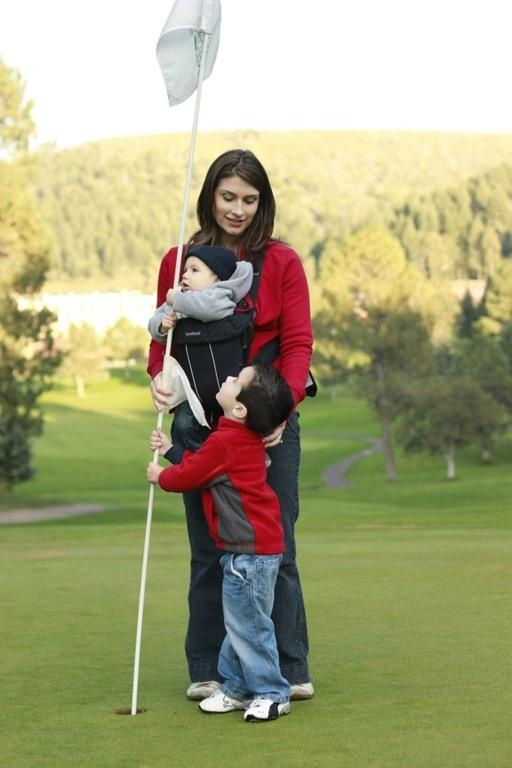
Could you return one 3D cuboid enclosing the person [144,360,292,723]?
[{"bbox_3d":[-0.091,0.379,3.028,0.357,0.842,0.255,1,-1,3],"label":"person"}]

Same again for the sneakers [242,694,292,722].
[{"bbox_3d":[0.025,0.770,2.915,0.121,0.050,0.041,-1,-21,-33],"label":"sneakers"}]

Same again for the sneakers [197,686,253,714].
[{"bbox_3d":[-0.076,0.775,2.994,0.132,0.053,0.048,4,-5,-11],"label":"sneakers"}]

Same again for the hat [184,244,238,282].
[{"bbox_3d":[-0.106,-0.304,3.089,0.107,0.063,0.089,34,-4,-18],"label":"hat"}]
